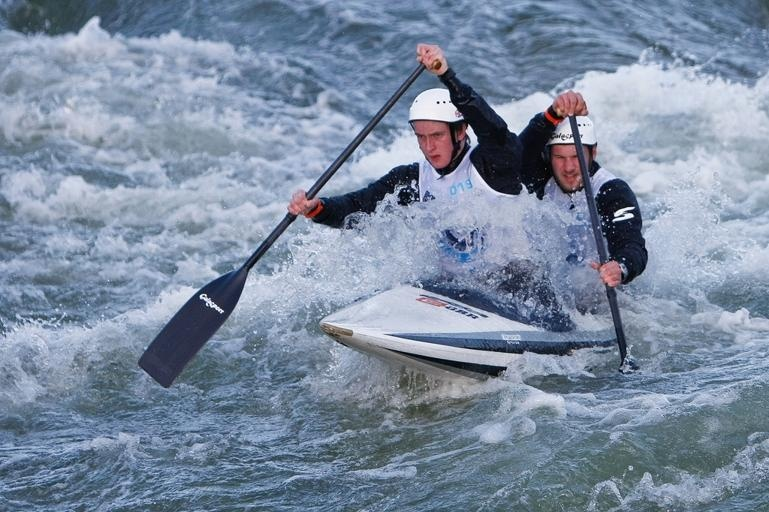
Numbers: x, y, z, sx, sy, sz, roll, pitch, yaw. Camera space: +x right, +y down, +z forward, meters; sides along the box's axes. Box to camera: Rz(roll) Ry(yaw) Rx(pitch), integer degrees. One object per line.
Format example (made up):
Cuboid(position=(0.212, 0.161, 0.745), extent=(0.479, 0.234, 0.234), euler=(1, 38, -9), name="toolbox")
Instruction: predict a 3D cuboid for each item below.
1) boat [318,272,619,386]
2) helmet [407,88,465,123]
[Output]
Cuboid(position=(1.073, 0.928, 13.056), extent=(3.488, 0.840, 1.089), euler=(5, 27, -29), name="boat")
Cuboid(position=(0.563, -1.773, 13.074), extent=(0.539, 0.402, 0.393), euler=(-10, 17, 5), name="helmet")
